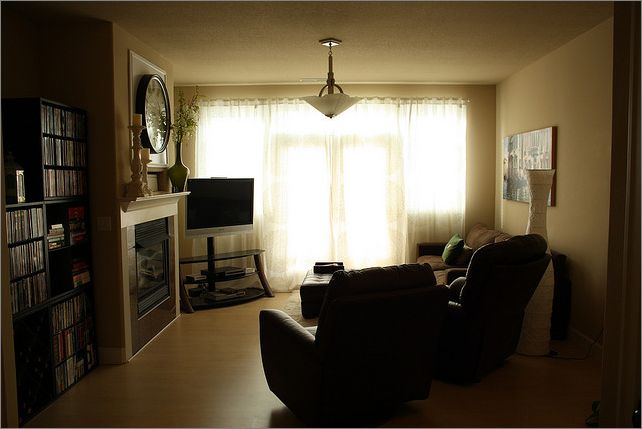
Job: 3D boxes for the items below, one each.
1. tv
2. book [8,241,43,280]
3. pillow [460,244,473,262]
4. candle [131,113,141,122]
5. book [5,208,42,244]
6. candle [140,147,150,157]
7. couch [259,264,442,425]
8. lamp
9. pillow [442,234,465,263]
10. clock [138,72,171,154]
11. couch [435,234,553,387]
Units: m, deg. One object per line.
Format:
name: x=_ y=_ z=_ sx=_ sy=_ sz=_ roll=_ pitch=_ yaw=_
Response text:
tv: x=-1.484 y=-0.123 z=6.448 sx=0.878 sy=0.743 sz=0.084 roll=-1 pitch=3 yaw=-37
book: x=-2.607 y=0.387 z=4.007 sx=0.062 sy=0.250 sz=0.267 roll=-1 pitch=4 yaw=17
pillow: x=1.964 y=0.538 z=6.186 sx=0.157 sy=0.260 sz=0.074 roll=21 pitch=-1 yaw=-12
candle: x=-1.926 y=-1.012 z=4.719 sx=0.086 sy=0.102 sz=0.089 roll=7 pitch=15 yaw=22
book: x=-2.604 y=0.093 z=3.933 sx=0.099 sy=0.249 sz=0.277 roll=2 pitch=11 yaw=15
candle: x=-1.895 y=-0.687 z=4.883 sx=0.080 sy=0.093 sz=0.087 roll=6 pitch=9 yaw=35
couch: x=0.174 y=1.102 z=4.100 sx=1.252 sy=1.415 sz=1.414 roll=0 pitch=-1 yaw=-25
lamp: x=0.160 y=-1.572 z=5.407 sx=0.784 sy=0.907 sz=0.787 roll=-1 pitch=0 yaw=11
pillow: x=1.834 y=0.478 z=6.287 sx=0.256 sy=0.146 sz=0.323 roll=-40 pitch=3 yaw=15
clock: x=-1.970 y=-1.175 z=5.284 sx=0.244 sy=0.918 sz=0.874 roll=-3 pitch=12 yaw=-8
couch: x=1.731 y=0.885 z=4.929 sx=1.169 sy=1.590 sz=1.367 roll=-2 pitch=3 yaw=-36
